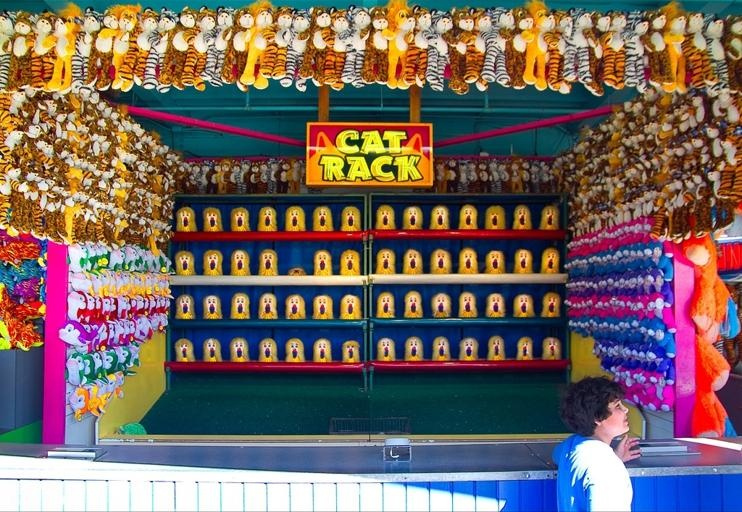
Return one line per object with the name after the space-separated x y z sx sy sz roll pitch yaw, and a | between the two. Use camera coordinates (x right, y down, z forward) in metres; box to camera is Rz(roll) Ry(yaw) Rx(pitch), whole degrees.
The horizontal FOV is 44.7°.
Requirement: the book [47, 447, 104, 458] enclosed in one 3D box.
-1.780 1.187 5.416 0.333 0.036 0.153 -1 5 7 | book
